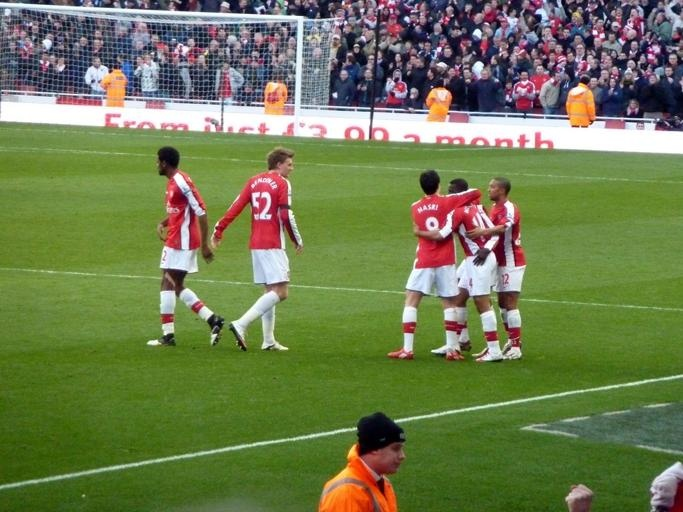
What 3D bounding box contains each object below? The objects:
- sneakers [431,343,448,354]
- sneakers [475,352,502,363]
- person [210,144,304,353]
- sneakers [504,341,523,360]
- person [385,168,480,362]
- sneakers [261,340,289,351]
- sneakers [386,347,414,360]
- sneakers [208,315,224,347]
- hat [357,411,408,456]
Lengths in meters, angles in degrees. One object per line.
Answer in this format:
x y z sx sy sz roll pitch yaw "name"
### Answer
1.274 1.241 16.788 0.232 0.103 0.084 -7 -4 37 "sneakers"
1.854 1.319 16.630 0.395 0.163 0.133 1 3 30 "sneakers"
-1.023 -0.080 16.750 0.985 2.644 0.699 1 8 -5 "person"
2.224 1.224 16.766 0.233 0.232 0.359 3 8 6 "sneakers"
1.190 0.121 16.639 1.010 2.442 0.902 4 8 10 "person"
-0.873 1.175 16.790 0.333 0.132 0.134 0 6 -12 "sneakers"
0.753 1.273 16.548 0.369 0.151 0.132 3 0 9 "sneakers"
-1.626 0.956 16.752 0.247 0.450 0.168 9 16 5 "sneakers"
0.340 1.559 11.181 0.466 0.365 0.323 -11 -8 19 "hat"
